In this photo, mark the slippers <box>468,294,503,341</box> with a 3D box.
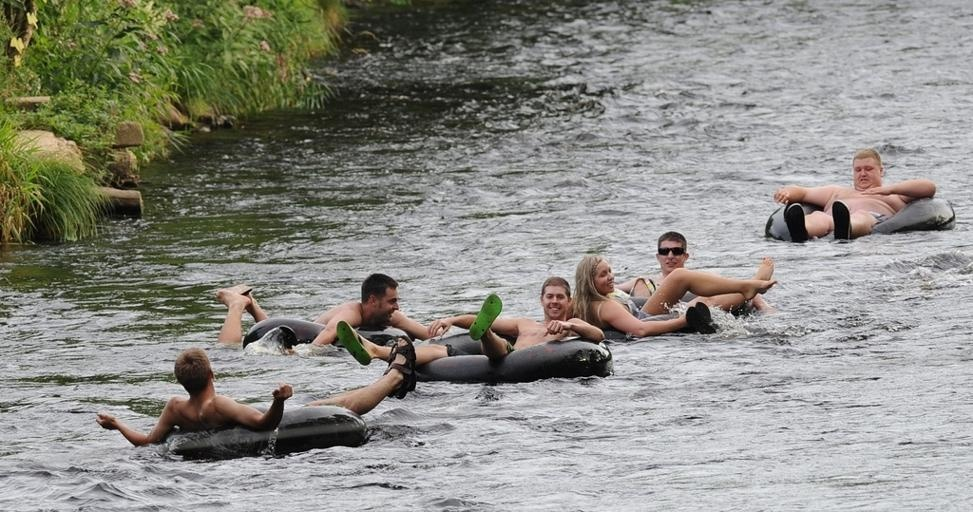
[{"bbox_3d":[-0.012,1.019,26.204,0.534,0.778,0.511,-4,4,-2],"label":"slippers"}]

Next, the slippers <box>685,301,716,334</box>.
[{"bbox_3d":[3.693,1.070,27.430,0.489,0.586,0.254,-21,13,-5],"label":"slippers"}]

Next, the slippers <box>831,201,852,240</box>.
[{"bbox_3d":[6.908,-0.714,30.750,0.394,0.740,0.377,4,9,20],"label":"slippers"}]

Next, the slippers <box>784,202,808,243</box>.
[{"bbox_3d":[5.997,-0.661,30.939,0.441,0.758,0.355,-7,12,-2],"label":"slippers"}]
